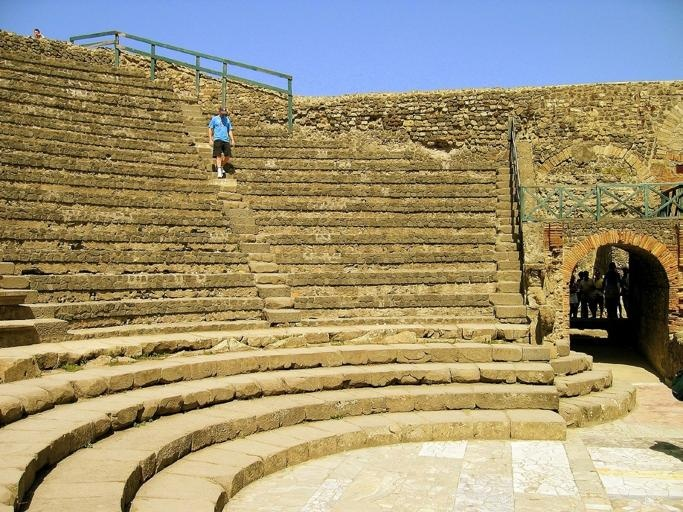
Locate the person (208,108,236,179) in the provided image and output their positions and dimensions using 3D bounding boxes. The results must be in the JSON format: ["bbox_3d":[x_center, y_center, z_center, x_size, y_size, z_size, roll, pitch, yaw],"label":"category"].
[{"bbox_3d":[-2.742,-2.587,13.512,0.526,1.358,0.891,-3,1,-11],"label":"person"}]
